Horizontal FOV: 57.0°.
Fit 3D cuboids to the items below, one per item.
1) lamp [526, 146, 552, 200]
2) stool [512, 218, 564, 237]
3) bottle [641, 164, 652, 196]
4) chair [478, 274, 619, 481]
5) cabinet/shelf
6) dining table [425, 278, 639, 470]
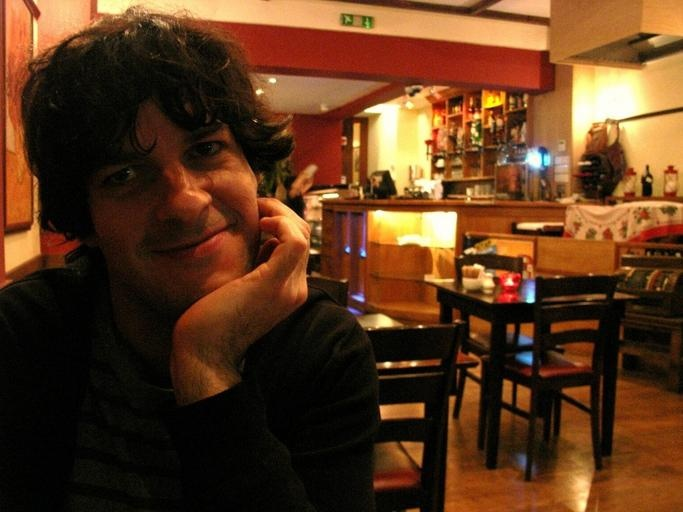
[{"bbox_3d":[2.523,-1.043,7.952,0.219,0.642,0.400,-3,9,-22],"label":"lamp"},{"bbox_3d":[2.051,-0.275,6.497,0.372,0.153,0.678,-2,10,-13],"label":"stool"},{"bbox_3d":[3.283,-0.812,6.760,0.122,0.309,0.371,4,10,25],"label":"bottle"},{"bbox_3d":[1.286,0.526,3.720,0.539,1.058,1.472,3,10,20],"label":"chair"},{"bbox_3d":[1.996,-1.700,9.643,0.875,1.761,3.506,0,9,-1],"label":"cabinet/shelf"},{"bbox_3d":[1.071,0.475,3.687,0.950,1.000,1.054,-1,6,-15],"label":"dining table"}]
